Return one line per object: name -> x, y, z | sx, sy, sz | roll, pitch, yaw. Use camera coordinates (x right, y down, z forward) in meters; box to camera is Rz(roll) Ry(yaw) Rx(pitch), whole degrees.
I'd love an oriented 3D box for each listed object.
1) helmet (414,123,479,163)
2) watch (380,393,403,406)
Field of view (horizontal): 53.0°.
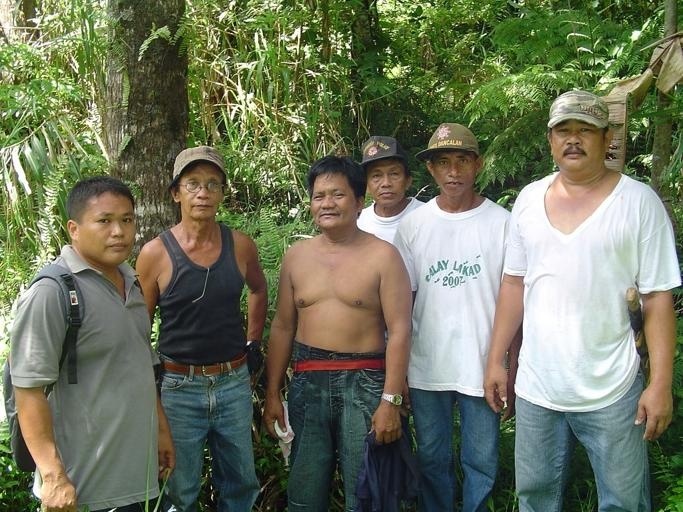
helmet -> 0.789, -0.822, 4.761 | 0.320, 0.161, 0.241 | 11, -12, -40
watch -> 0.324, 0.887, 4.340 | 0.096, 0.040, 0.093 | 9, -2, -45
